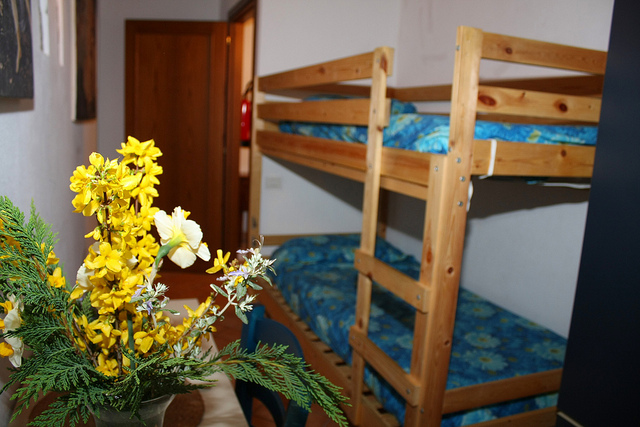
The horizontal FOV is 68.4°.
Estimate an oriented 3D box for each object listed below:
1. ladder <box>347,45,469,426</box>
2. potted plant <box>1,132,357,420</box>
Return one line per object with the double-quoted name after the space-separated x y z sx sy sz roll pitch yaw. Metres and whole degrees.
0.345 0.183 2.048 0.206 1.780 0.578 0 6 -31 "ladder"
-0.376 0.148 1.111 0.728 0.643 0.255 3 5 -7 "potted plant"
